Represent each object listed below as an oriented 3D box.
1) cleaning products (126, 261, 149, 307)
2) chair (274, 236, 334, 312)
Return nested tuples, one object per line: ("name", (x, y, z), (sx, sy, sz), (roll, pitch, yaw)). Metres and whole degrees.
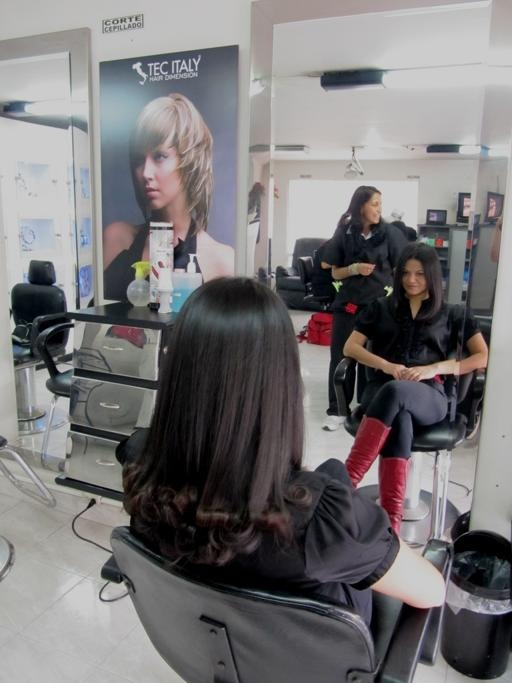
("cleaning products", (-0.477, -0.245, 2.227), (0.115, 0.173, 0.112), (12, 14, 31))
("chair", (0.163, -0.252, 1.973), (0.247, 0.295, 0.244), (6, 13, 24))
